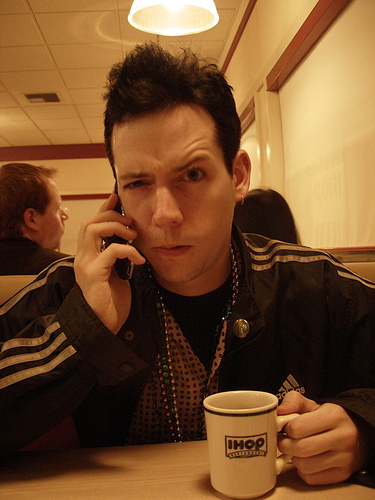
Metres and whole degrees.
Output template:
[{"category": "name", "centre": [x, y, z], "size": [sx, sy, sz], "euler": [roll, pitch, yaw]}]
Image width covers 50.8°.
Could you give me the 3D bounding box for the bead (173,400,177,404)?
[{"category": "bead", "centre": [-0.028, 0.335, 0.866], "size": [0.006, 0.002, 0.006], "euler": [-6, -3, 7]}]

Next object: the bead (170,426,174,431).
[{"category": "bead", "centre": [-0.035, 0.395, 0.874], "size": [0.010, 0.004, 0.015], "euler": [-4, -7, 2]}]

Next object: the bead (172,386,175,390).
[{"category": "bead", "centre": [-0.031, 0.307, 0.877], "size": [0.005, 0.008, 0.009], "euler": [-7, -9, 10]}]

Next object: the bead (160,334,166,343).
[{"category": "bead", "centre": [-0.056, 0.204, 0.913], "size": [0.010, 0.016, 0.015], "euler": [2, -21, -2]}]

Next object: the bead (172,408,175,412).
[{"category": "bead", "centre": [-0.033, 0.351, 0.865], "size": [0.005, 0.009, 0.006], "euler": [-1, 0, -3]}]

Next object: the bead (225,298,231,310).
[{"category": "bead", "centre": [0.098, 0.130, 0.945], "size": [0.010, 0.032, 0.012], "euler": [16, -41, -4]}]

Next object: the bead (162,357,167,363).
[{"category": "bead", "centre": [-0.052, 0.250, 0.899], "size": [0.006, 0.011, 0.009], "euler": [3, 16, -9]}]

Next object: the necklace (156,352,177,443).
[{"category": "necklace", "centre": [-0.044, 0.331, 0.913], "size": [0.034, 0.276, 0.022], "euler": [-7, -2, 36]}]

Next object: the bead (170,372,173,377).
[{"category": "bead", "centre": [-0.037, 0.281, 0.890], "size": [0.005, 0.007, 0.007], "euler": [2, -37, 6]}]

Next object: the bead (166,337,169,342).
[{"category": "bead", "centre": [-0.046, 0.208, 0.918], "size": [0.002, 0.007, 0.006], "euler": [2, 20, 16]}]

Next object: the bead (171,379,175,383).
[{"category": "bead", "centre": [-0.032, 0.294, 0.885], "size": [0.008, 0.008, 0.005], "euler": [-1, -10, -29]}]

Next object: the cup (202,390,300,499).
[{"category": "cup", "centre": [0.066, 0.224, 0.457], "size": [0.086, 0.103, 0.091], "euler": [-6, -9, -1]}]

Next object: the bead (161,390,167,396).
[{"category": "bead", "centre": [-0.053, 0.320, 0.885], "size": [0.008, 0.012, 0.014], "euler": [-5, -10, -9]}]
